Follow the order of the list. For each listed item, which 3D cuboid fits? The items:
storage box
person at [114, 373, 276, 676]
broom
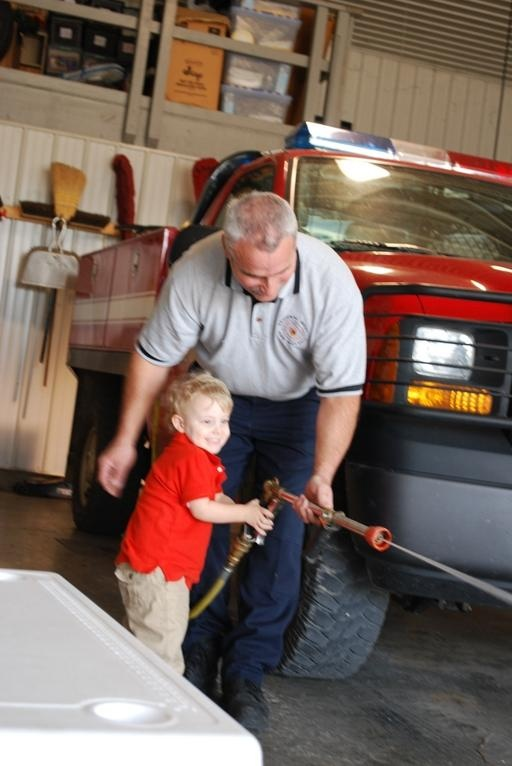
[{"bbox_3d":[-0.279,-3.327,6.783,1.454,0.886,1.010,7,0,-11],"label":"storage box"},{"bbox_3d":[-0.179,0.417,1.865,0.423,0.838,0.224,9,-2,-9],"label":"person"},{"bbox_3d":[-1.934,-1.131,5.994,0.420,1.908,0.246,7,-8,-6],"label":"broom"}]
